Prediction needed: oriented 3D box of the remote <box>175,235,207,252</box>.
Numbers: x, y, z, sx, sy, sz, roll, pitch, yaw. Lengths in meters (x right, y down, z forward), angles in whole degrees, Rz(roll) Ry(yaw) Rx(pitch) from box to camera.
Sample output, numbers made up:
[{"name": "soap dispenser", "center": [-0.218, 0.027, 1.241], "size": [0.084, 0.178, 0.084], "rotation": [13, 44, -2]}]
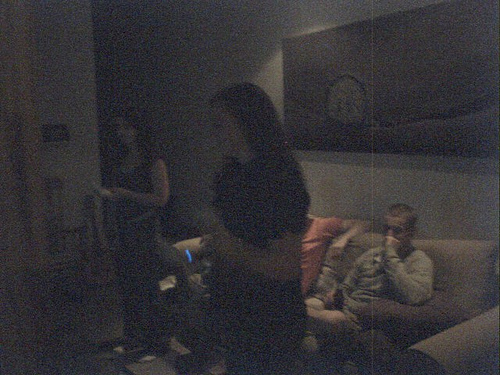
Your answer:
[{"name": "remote", "center": [-0.240, 0.231, 2.057], "size": [0.126, 0.057, 0.006], "rotation": [-3, 3, -6]}]

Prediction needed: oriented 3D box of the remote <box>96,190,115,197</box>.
[{"name": "remote", "center": [-0.585, 0.024, 2.034], "size": [0.060, 0.027, 0.011], "rotation": [-4, 3, -14]}]
